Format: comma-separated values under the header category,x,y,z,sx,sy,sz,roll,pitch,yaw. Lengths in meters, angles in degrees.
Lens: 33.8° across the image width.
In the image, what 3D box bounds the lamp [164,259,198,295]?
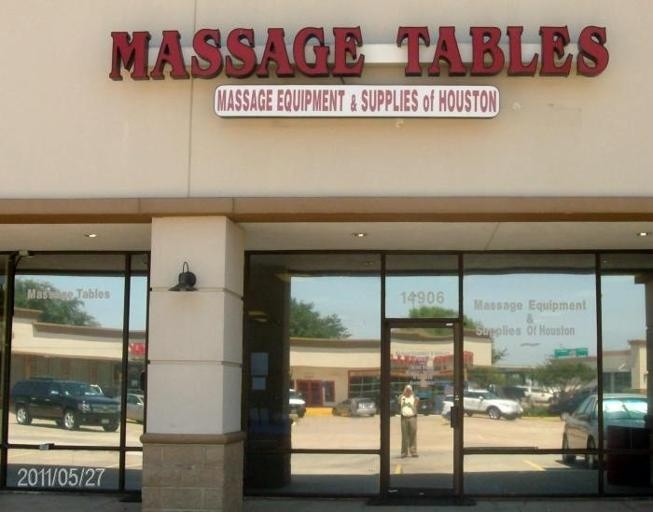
category,x,y,z,sx,sy,sz,roll,pitch,yaw
lamp,-2.009,0.303,14.626,0.364,0.428,0.348,-1,-11,5
